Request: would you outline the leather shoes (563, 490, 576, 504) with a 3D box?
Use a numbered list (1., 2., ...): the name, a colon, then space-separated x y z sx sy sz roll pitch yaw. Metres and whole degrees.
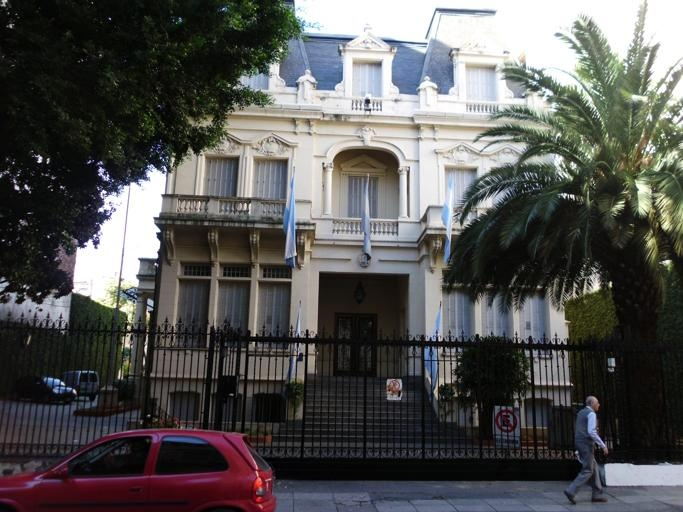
1. leather shoes: 5.095 5.379 13.352 0.240 0.287 0.340 -5 -15 25
